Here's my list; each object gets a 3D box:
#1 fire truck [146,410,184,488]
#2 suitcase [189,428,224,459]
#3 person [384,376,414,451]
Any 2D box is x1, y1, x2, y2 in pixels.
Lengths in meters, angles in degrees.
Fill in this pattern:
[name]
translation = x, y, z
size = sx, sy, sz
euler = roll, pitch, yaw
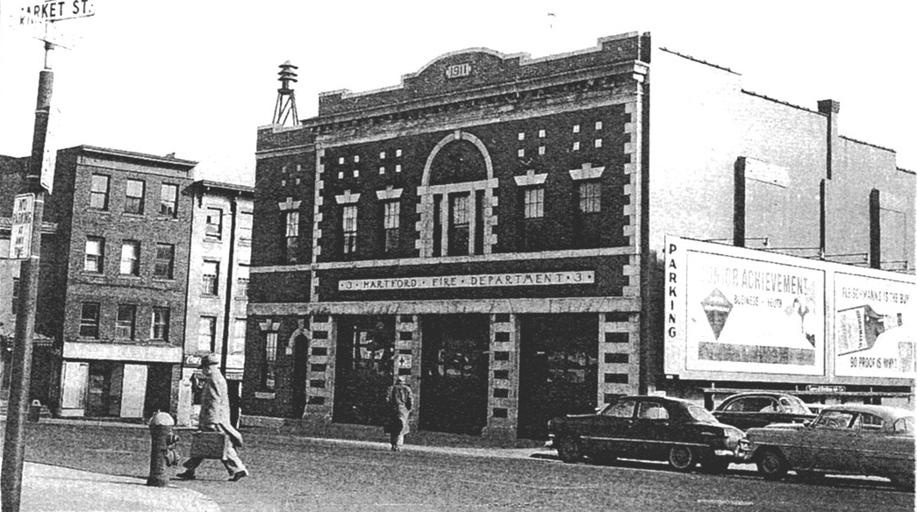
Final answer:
[fire truck]
translation = -9.930, 6.463, 37.939
size = 0.989, 2.644, 1.152
euler = -1, -1, 17
[suitcase]
translation = -8.376, 6.343, 38.305
size = 1.245, 0.913, 0.631
euler = 2, 4, 14
[person]
translation = -2.534, 6.903, 49.547
size = 0.970, 3.206, 1.596
euler = 4, -10, -4
